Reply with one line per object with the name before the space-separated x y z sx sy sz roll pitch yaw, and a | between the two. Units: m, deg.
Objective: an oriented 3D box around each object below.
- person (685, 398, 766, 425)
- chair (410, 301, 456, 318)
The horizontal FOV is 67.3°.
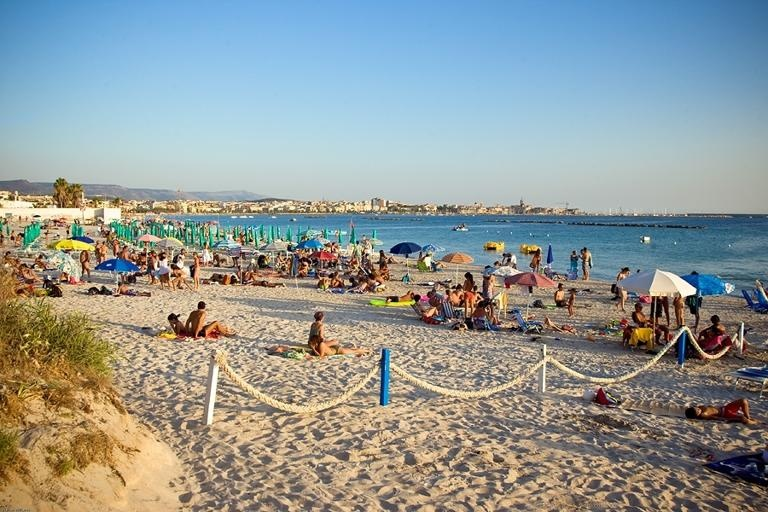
person | 6.150 2.837 10.585 1.500 0.394 0.478 0 -4 2
chair | 1.486 1.650 17.433 1.262 0.543 0.599 9 14 32
